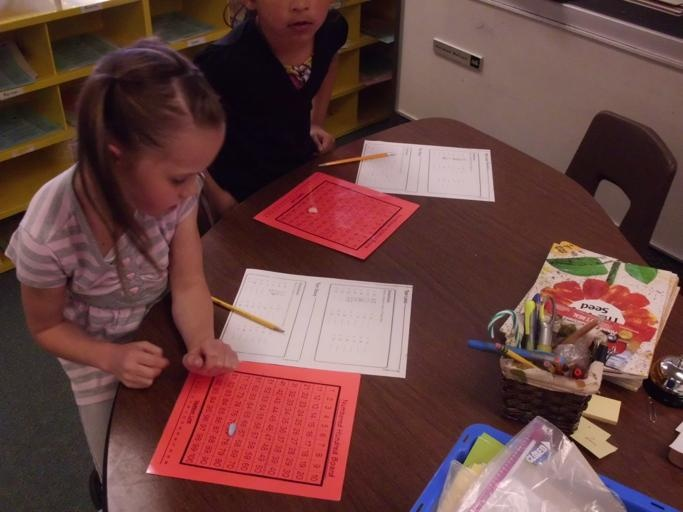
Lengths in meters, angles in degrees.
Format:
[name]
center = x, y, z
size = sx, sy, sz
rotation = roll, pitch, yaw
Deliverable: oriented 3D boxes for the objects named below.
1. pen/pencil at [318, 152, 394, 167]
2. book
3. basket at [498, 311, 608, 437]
[pen/pencil]
center = 0.044, -0.283, 1.549
size = 0.204, 0.015, 0.016
rotation = -9, 68, -4
[book]
center = 0.550, 0.138, 1.187
size = 0.294, 0.073, 0.308
rotation = 18, 56, 26
[basket]
center = 0.364, 0.226, 0.961
size = 0.155, 0.106, 0.133
rotation = 11, 20, 12
